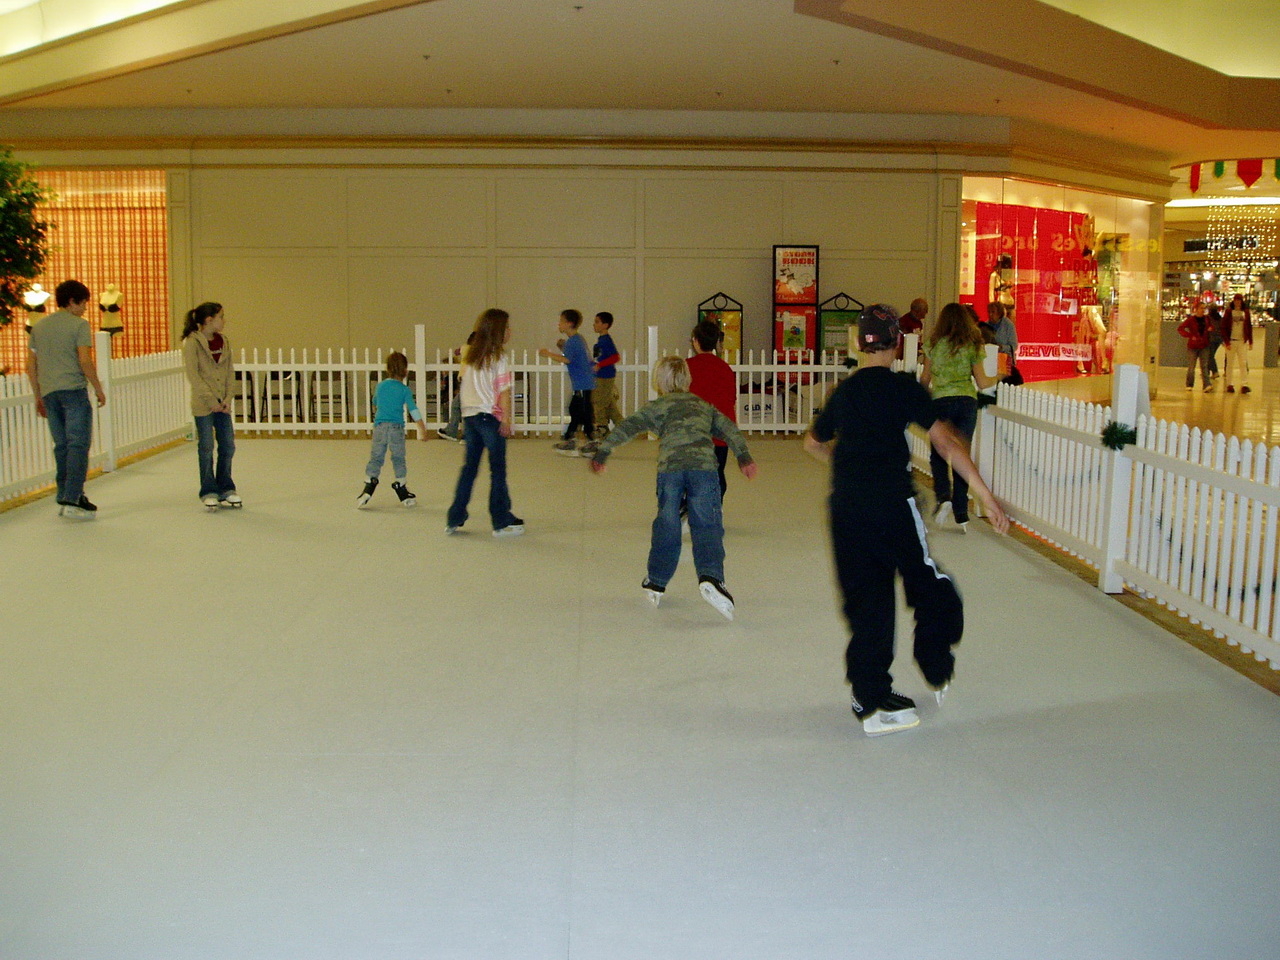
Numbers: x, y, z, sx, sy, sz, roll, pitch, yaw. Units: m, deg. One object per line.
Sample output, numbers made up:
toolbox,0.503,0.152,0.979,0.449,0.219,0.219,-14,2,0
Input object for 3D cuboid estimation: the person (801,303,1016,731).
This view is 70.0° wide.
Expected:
person,1.282,0.223,4.718,0.806,2.146,0.551,-1,12,-3

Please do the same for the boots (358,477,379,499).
boots,-2.937,0.124,9.884,0.122,0.278,0.165,23,26,-35

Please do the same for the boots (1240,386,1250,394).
boots,14.362,-2.174,21.744,0.153,0.219,0.530,6,19,32

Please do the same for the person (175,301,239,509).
person,-4.632,-0.816,9.858,0.469,2.184,0.950,-6,14,-26

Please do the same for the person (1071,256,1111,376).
person,10.451,-3.858,21.072,0.719,2.977,0.724,3,-3,-39

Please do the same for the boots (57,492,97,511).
boots,-5.697,0.208,9.175,0.377,0.172,0.127,-1,17,-42

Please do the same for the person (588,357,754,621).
person,0.261,0.043,6.665,1.054,1.850,1.195,1,13,4

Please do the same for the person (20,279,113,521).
person,-5.688,-0.801,9.058,0.710,2.306,0.587,-3,13,-14

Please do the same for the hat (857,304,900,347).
hat,1.240,-0.824,4.861,0.178,0.251,0.248,2,12,7

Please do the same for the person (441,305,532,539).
person,-1.533,-0.557,8.802,0.723,2.188,1.252,-2,13,-9

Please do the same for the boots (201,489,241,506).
boots,-4.550,0.182,9.757,0.440,0.210,0.174,-2,5,1
